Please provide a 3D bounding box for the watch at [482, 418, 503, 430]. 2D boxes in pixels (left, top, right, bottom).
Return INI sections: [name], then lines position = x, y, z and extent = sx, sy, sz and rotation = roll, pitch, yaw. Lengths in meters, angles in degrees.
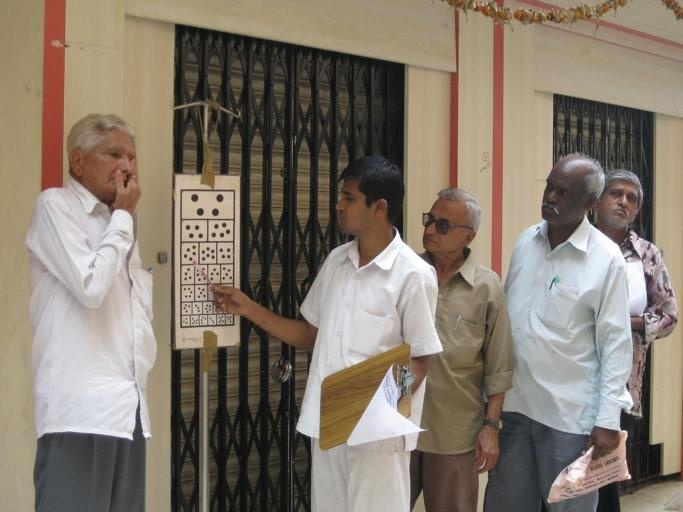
[watch]
position = 0.856, 0.959, 5.948
extent = 0.088, 0.070, 0.102
rotation = 8, -22, -19
